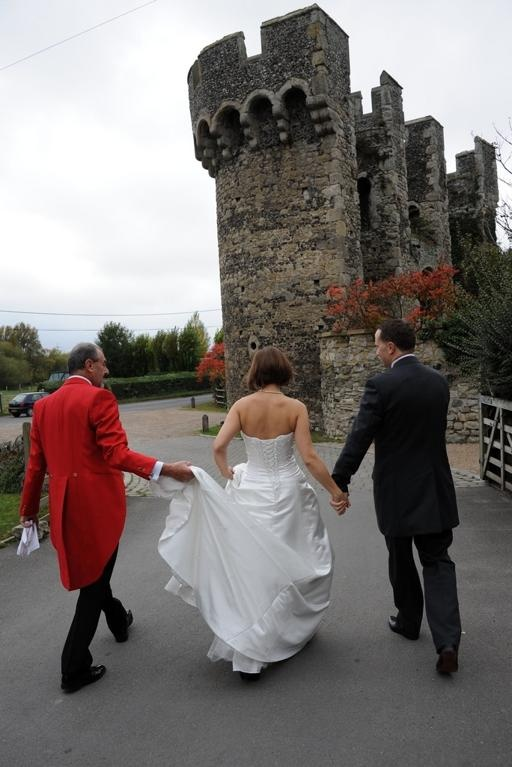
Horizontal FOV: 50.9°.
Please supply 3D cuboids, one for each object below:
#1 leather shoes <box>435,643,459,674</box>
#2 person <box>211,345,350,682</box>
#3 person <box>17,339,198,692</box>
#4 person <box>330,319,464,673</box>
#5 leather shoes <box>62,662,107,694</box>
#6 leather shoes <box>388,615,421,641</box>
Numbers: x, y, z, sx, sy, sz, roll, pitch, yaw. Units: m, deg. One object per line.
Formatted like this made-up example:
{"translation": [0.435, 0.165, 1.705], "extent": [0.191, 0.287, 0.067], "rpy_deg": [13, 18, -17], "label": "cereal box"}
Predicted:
{"translation": [0.952, 1.384, 2.693], "extent": [0.076, 0.089, 0.206], "rpy_deg": [1, -40, 2], "label": "leather shoes"}
{"translation": [0.168, 0.734, 3.347], "extent": [0.783, 2.014, 0.622], "rpy_deg": [1, 15, 1], "label": "person"}
{"translation": [-0.898, 0.690, 2.984], "extent": [0.962, 1.848, 0.527], "rpy_deg": [-2, 1, 35], "label": "person"}
{"translation": [0.809, 0.585, 2.974], "extent": [0.591, 1.369, 0.545], "rpy_deg": [-2, 1, 27], "label": "person"}
{"translation": [-0.902, 1.541, 2.831], "extent": [0.076, 0.105, 0.205], "rpy_deg": [1, 5, 36], "label": "leather shoes"}
{"translation": [0.891, 1.480, 3.231], "extent": [0.067, 0.131, 0.175], "rpy_deg": [-11, 27, -24], "label": "leather shoes"}
